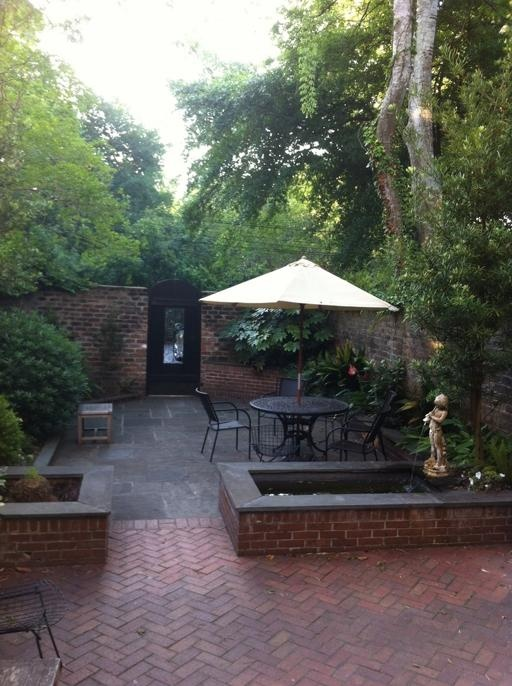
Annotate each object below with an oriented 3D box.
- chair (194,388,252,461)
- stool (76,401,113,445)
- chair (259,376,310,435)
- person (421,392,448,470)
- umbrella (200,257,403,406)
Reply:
[{"bbox_3d":[-0.424,1.014,7.028,0.625,0.761,0.479,1,0,-21],"label":"chair"},{"bbox_3d":[-2.377,1.200,7.968,0.574,0.564,0.782,0,3,-7],"label":"stool"},{"bbox_3d":[0.265,1.071,8.148,0.576,0.830,0.497,-10,21,-8],"label":"chair"},{"bbox_3d":[1.599,0.804,4.860,0.201,0.732,0.448,2,3,18],"label":"person"},{"bbox_3d":[0.449,-0.152,6.503,1.794,1.752,2.119,1,3,-4],"label":"umbrella"}]
